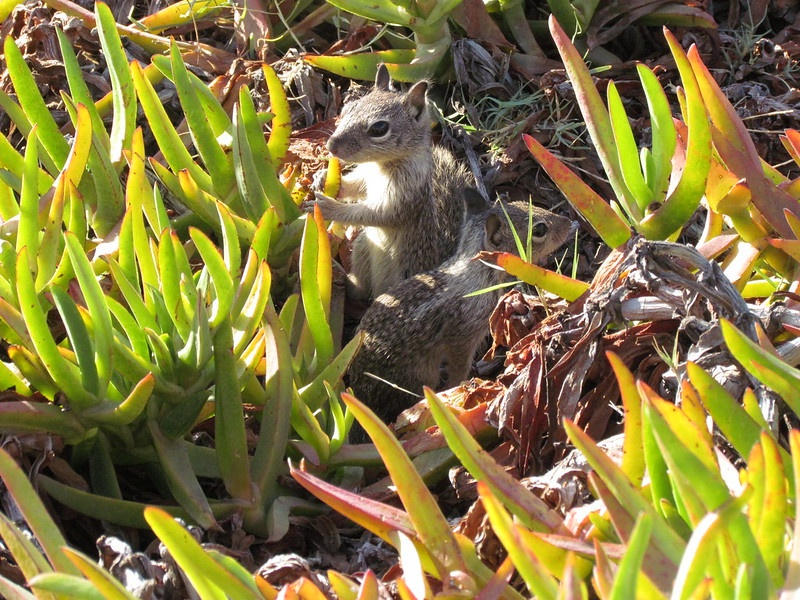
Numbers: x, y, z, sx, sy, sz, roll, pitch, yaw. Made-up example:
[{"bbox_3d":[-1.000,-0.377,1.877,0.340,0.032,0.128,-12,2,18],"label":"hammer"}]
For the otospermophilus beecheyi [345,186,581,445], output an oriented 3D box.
[{"bbox_3d":[0.239,0.058,3.447,0.891,0.486,0.290,-41,53,-16],"label":"otospermophilus beecheyi"}]
